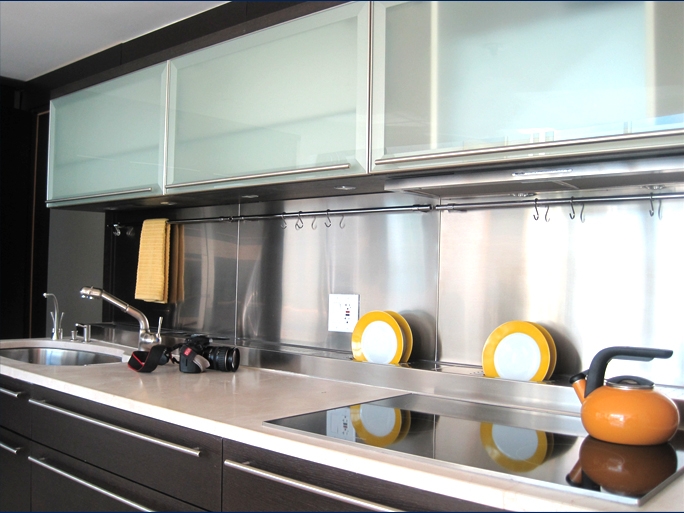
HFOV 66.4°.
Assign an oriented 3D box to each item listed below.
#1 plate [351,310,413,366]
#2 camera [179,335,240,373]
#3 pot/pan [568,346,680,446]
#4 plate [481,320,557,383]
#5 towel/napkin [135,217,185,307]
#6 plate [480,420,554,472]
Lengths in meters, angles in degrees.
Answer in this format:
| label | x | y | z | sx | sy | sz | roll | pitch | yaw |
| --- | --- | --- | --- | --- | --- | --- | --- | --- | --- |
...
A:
| label | x | y | z | sx | sy | sz | roll | pitch | yaw |
| --- | --- | --- | --- | --- | --- | --- | --- | --- | --- |
| plate | 0.167 | 0.316 | 2.092 | 0.163 | 0.195 | 0.239 | -4 | 4 | -40 |
| camera | -0.580 | 0.429 | 2.303 | 0.248 | 0.130 | 0.213 | -2 | 3 | -11 |
| pot/pan | 0.765 | 0.379 | 1.469 | 0.278 | 0.243 | 0.235 | 0 | -5 | 40 |
| plate | 0.606 | 0.320 | 1.806 | 0.049 | 0.206 | 0.205 | 4 | -8 | -42 |
| towel/napkin | -1.011 | 0.038 | 2.867 | 0.289 | 0.479 | 0.157 | 1 | 4 | 29 |
| plate | 0.461 | 0.499 | 1.378 | 0.187 | 0.036 | 0.395 | 0 | 3 | 16 |
